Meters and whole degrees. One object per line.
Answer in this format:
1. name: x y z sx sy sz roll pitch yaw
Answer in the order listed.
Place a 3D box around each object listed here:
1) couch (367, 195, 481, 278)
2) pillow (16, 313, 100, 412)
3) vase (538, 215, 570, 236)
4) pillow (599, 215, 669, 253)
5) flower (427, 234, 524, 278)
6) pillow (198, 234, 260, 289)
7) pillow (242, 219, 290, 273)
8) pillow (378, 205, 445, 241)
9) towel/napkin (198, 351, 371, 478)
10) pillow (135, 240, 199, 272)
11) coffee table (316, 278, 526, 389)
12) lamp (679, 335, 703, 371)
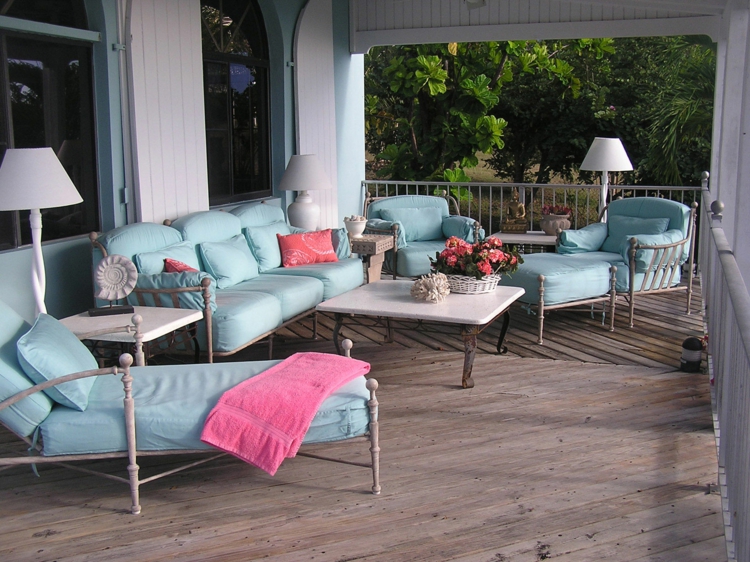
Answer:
1. couch: 0.647 -0.630 7.863 1.717 0.805 1.138 -7 18 -27
2. pillow: -1.758 0.465 3.521 0.280 0.172 0.521 12 14 -13
3. vase: 2.271 -0.701 8.008 0.361 0.191 0.312 1 8 10
4. pillow: 2.814 -0.498 6.819 0.183 0.298 0.553 32 -15 -26
5. flower: 0.932 -0.222 5.854 0.691 0.218 0.589 -1 6 -2
6. pillow: -1.362 -0.171 5.855 0.271 0.191 0.567 27 17 15
7. pillow: -1.106 -0.357 6.503 0.168 0.422 0.549 -11 4 34
8. pillow: 0.453 -0.705 7.932 0.684 0.318 0.180 0 -20 -20
9. towel/napkin: -0.491 0.671 3.571 0.575 0.230 0.920 16 26 27
10. pillow: -1.754 -0.205 5.322 0.057 0.209 0.354 -35 -13 31
11. coffee table: 0.346 0.231 5.170 1.220 0.418 1.304 3 10 22
12. lamp: 2.753 0.590 5.431 0.140 0.275 0.432 10 15 39
